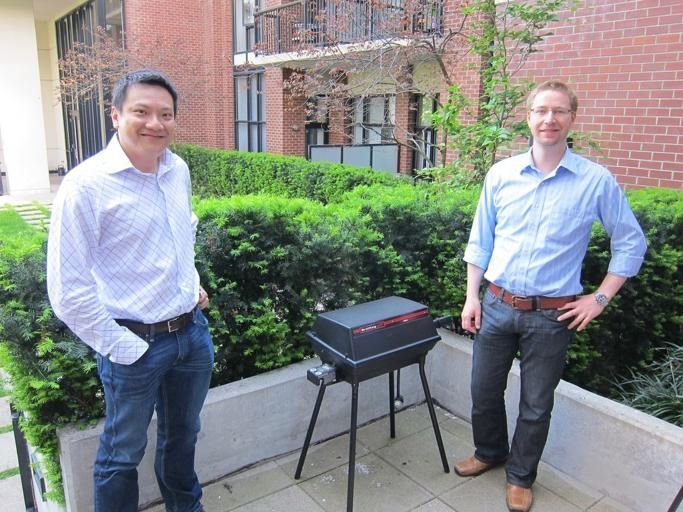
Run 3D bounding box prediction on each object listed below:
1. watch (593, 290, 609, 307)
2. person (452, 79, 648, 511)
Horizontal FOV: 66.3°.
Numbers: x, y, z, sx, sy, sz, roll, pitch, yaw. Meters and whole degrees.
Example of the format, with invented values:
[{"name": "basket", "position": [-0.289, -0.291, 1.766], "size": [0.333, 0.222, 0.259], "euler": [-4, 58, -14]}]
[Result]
[{"name": "watch", "position": [1.631, 0.263, 3.231], "size": [0.071, 0.098, 0.034], "euler": [17, -7, -2]}, {"name": "person", "position": [1.298, 0.272, 3.372], "size": [1.008, 2.696, 0.753], "euler": [4, 16, 21]}]
